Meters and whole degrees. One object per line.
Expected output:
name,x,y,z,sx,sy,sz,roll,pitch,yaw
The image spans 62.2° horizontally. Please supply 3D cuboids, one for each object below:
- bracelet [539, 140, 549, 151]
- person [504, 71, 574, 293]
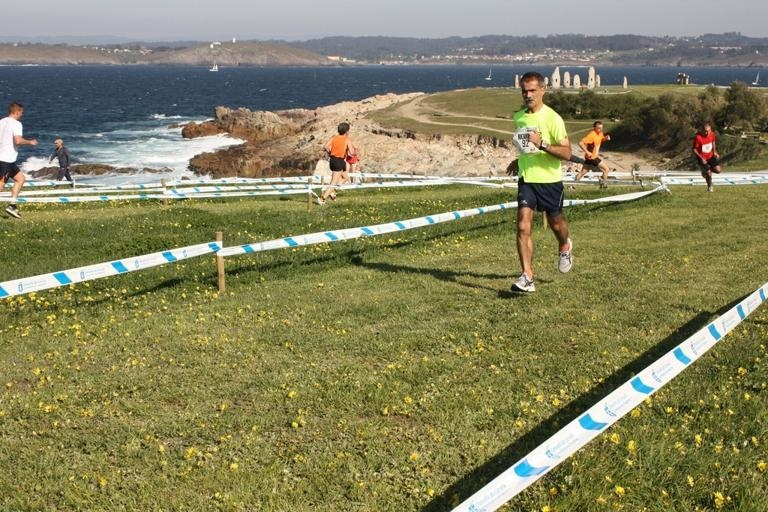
bracelet,2.546,-1.740,10.126,0.155,0.116,0.055,33,-14,-7
person,2.635,-1.188,10.671,0.956,3.627,1.176,7,18,29
